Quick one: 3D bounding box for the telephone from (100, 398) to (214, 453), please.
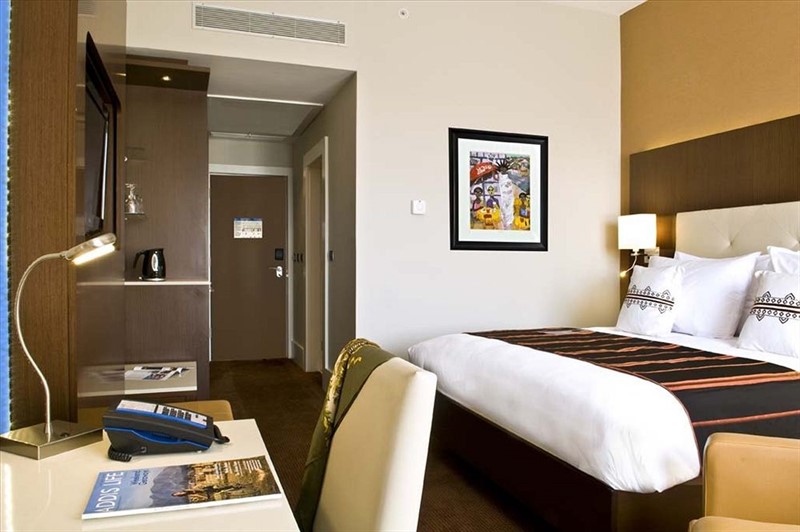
[{"bbox_3d":[-0.835,0.521,1.829,0.264,0.115,0.209,0,5,-17],"label":"telephone"}]

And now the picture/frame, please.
[{"bbox_3d":[0.872,-0.723,4.875,1.070,1.214,0.082,1,-4,-21],"label":"picture/frame"}]

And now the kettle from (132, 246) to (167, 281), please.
[{"bbox_3d":[-2.149,-0.012,4.467,0.267,0.269,0.257,-1,5,-19],"label":"kettle"}]

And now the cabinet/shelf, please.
[{"bbox_3d":[-1.777,0.470,3.601,0.980,1.014,0.337,0,3,-8],"label":"cabinet/shelf"}]
